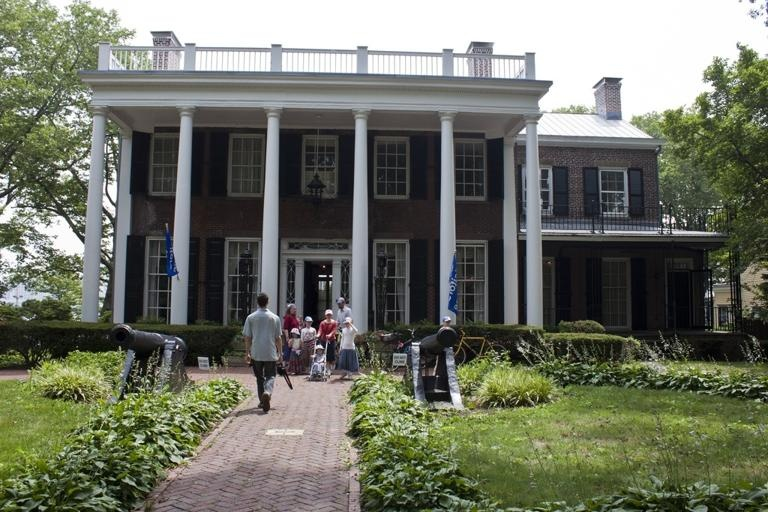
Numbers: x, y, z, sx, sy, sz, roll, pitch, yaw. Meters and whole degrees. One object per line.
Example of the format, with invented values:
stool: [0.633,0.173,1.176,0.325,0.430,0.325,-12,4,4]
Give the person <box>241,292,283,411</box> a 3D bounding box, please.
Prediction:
person: [-2.651,2.117,16.032,0.815,2.583,0.813,1,-8,-9]

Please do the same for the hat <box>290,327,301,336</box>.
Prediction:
hat: [-2.448,2.141,20.473,0.206,0.113,0.221,3,-13,13]

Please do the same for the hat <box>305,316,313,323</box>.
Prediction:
hat: [-2.058,1.814,20.338,0.204,0.153,0.295,5,4,32]

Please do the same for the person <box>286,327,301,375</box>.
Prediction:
person: [-2.514,2.714,20.647,0.369,1.287,0.758,1,-8,-8]

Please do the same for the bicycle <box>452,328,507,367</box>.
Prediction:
bicycle: [2.949,2.807,22.552,1.660,0.997,0.822,2,-4,0]

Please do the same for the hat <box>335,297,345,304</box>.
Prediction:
hat: [-1.205,1.297,20.697,0.249,0.168,0.323,0,1,2]

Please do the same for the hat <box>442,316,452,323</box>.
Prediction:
hat: [1.862,1.869,20.988,0.279,0.150,0.395,0,-9,3]

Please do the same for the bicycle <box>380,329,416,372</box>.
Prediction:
bicycle: [0.509,2.898,22.206,1.141,1.277,1.288,-1,-24,1]

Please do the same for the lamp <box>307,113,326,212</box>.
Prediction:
lamp: [-2.362,-3.264,25.936,0.651,2.941,1.318,0,-8,-6]

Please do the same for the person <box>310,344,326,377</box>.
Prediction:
person: [-1.743,2.937,19.888,0.385,0.958,0.514,-7,-10,37]

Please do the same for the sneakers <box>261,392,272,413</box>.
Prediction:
sneakers: [-2.530,3.174,15.665,0.191,0.430,0.246,2,-9,-16]
